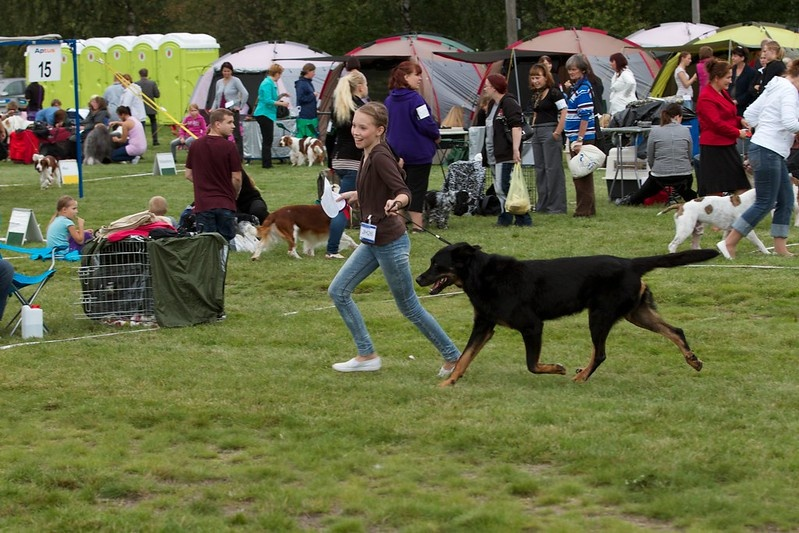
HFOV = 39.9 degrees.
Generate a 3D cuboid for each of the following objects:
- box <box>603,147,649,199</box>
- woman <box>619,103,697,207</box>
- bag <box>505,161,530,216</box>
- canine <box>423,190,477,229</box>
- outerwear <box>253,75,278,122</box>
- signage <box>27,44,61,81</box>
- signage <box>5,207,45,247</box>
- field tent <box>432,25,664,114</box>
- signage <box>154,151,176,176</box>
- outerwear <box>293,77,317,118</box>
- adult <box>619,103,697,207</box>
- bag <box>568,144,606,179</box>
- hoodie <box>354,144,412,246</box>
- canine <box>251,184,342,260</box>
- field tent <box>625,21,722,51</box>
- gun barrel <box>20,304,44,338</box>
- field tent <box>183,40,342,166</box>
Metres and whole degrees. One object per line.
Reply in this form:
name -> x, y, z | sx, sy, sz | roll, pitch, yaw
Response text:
box -> 3.925, -1.635, 18.942 | 1.203, 0.878, 0.824 | 1, 9, 7
woman -> 4.178, -1.807, 17.444 | 1.384, 1.434, 1.167 | 0, -3, 12
bag -> 1.776, -1.168, 16.528 | 0.376, 0.777, 0.350 | 2, 7, 26
canine -> 0.570, -0.885, 16.951 | 1.008, 0.533, 0.313 | 1, 0, -17
outerwear -> -2.810, -3.565, 23.302 | 0.625, 0.782, 0.822 | 1, 16, -9
signage -> -6.038, -3.485, 18.741 | 0.842, 0.751, 0.095 | -1, -8, -10
signage -> -5.313, -0.564, 15.601 | 0.399, 0.521, 0.558 | 2, 7, 26
field tent -> 4.578, -4.907, 27.256 | 6.130, 1.787, 6.599 | 4, 14, -3
signage -> -5.035, -2.197, 23.644 | 0.479, 0.465, 0.563 | -2, 6, -12
outerwear -> -2.063, -3.757, 24.620 | 0.746, 0.915, 0.857 | 0, 14, 3
adult -> 4.217, -1.799, 17.428 | 1.300, 1.402, 1.167 | 0, -4, 12
bag -> 2.832, -1.593, 16.963 | 0.531, 0.529, 0.245 | 26, -21, 40
hoodie -> -0.163, -0.733, 11.013 | 0.608, 1.027, 0.320 | 1, 6, 14
canine -> -1.298, -0.537, 15.148 | 1.883, 0.804, 0.343 | -5, 0, 18
field tent -> 7.199, -6.134, 29.071 | 2.661, 0.769, 2.272 | -2, 6, -5
gun barrel -> -4.007, 0.575, 12.107 | 0.209, 0.282, 0.183 | -17, 6, -31
field tent -> -3.282, -4.877, 29.341 | 5.049, 2.052, 4.545 | -6, 19, -13
